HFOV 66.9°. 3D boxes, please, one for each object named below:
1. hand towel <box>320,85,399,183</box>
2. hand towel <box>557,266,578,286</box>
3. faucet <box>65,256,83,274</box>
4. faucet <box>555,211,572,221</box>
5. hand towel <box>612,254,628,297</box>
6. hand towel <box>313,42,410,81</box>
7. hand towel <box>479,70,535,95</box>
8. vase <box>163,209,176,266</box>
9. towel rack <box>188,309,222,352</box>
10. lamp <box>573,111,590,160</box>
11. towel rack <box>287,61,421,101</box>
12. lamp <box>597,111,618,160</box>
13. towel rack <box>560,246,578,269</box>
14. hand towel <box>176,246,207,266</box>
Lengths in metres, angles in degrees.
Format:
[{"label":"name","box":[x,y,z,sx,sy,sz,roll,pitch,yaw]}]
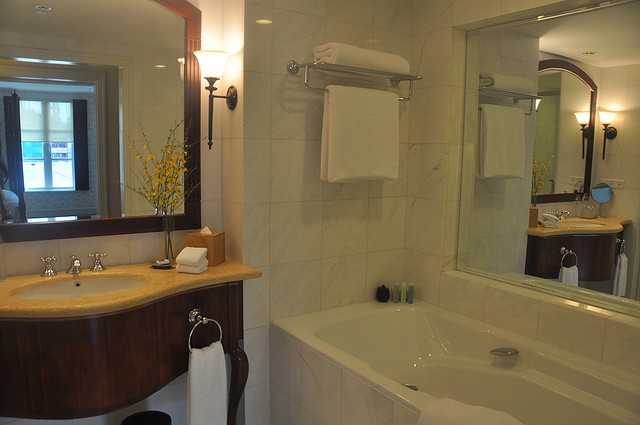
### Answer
[{"label":"hand towel","box":[0.205,-0.523,3.440,0.699,0.930,0.302,-2,6,-30]},{"label":"hand towel","box":[1.613,0.412,3.153,0.061,0.167,0.110,-6,12,-41]},{"label":"faucet","box":[-1.498,0.320,2.960,0.093,0.094,0.099,2,-2,-35]},{"label":"faucet","box":[1.594,0.025,3.187,0.031,0.047,0.088,-5,14,-24]},{"label":"hand towel","box":[1.847,0.397,2.977,0.064,0.258,0.035,4,0,-11]},{"label":"hand towel","box":[0.283,-1.027,3.283,0.724,0.166,0.203,-3,7,-28]},{"label":"hand towel","box":[1.321,-0.912,3.388,0.594,0.093,0.178,-2,13,-37]},{"label":"vase","box":[-0.991,0.153,3.181,0.075,0.358,0.191,-2,7,-17]},{"label":"towel rack","box":[-0.690,0.700,2.904,0.173,0.218,0.077,-14,8,-37]},{"label":"lamp","box":[1.669,-0.498,3.112,0.087,0.292,0.035,4,8,27]},{"label":"towel rack","box":[0.262,-0.889,3.314,0.859,0.225,0.362,0,12,-23]},{"label":"lamp","box":[1.784,-0.486,3.018,0.112,0.297,0.032,5,8,36]},{"label":"towel rack","box":[1.606,0.293,3.126,0.099,0.125,0.040,-7,-2,9]},{"label":"hand towel","box":[-0.800,0.269,3.007,0.125,0.043,0.125,3,11,6]}]
